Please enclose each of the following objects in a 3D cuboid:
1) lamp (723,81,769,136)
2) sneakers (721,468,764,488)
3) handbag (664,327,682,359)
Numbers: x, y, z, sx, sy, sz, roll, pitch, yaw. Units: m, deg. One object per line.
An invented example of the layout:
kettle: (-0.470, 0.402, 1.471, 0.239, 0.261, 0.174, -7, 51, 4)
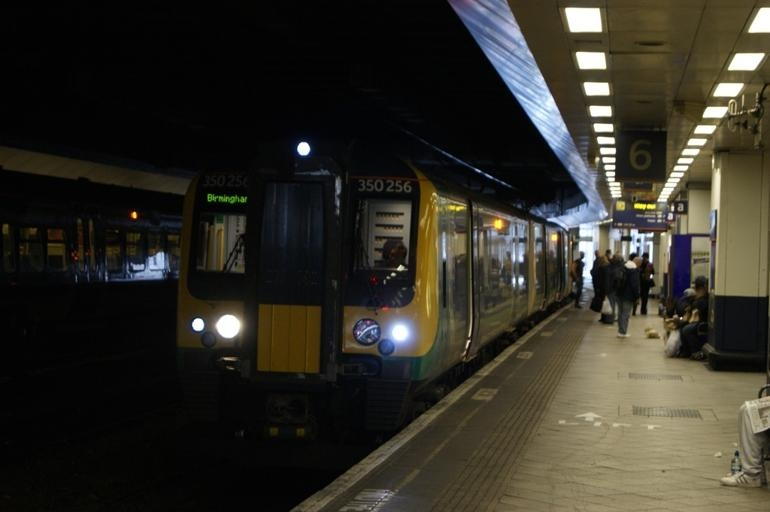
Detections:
lamp: (6.078, -2.435, 10.187, 0.444, 0.889, 1.665, 2, 9, 9)
sneakers: (3.954, 2.466, 6.853, 0.467, 0.212, 0.179, 5, -7, 9)
handbag: (6.843, 2.083, 14.559, 0.427, 0.627, 0.307, 0, -2, -6)
